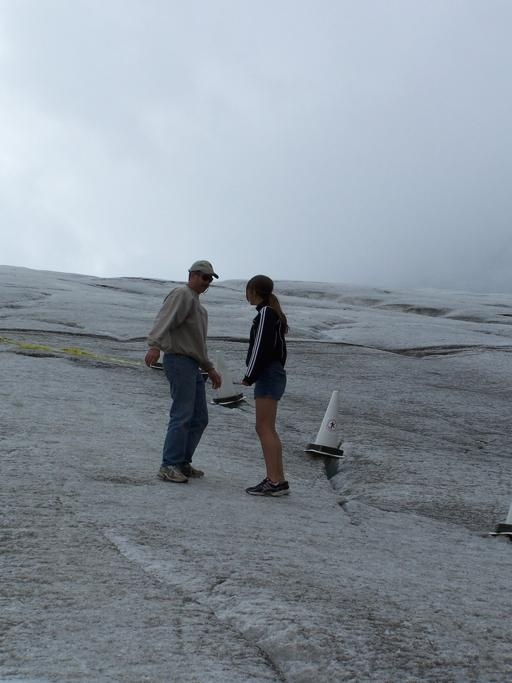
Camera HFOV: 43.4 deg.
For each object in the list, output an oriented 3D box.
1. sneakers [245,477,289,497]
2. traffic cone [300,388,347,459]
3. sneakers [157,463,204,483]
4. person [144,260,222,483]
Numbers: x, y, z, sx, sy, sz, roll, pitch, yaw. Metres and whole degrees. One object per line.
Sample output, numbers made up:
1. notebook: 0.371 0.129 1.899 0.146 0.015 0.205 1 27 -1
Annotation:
1. sneakers: 0.104 1.050 4.664 0.345 0.143 0.115 3 -7 -11
2. traffic cone: 0.669 0.745 5.955 0.359 0.612 0.279 6 10 -4
3. sneakers: -0.557 0.937 4.629 0.333 0.135 0.115 -3 3 13
4. person: -0.541 0.213 4.818 0.545 1.650 0.922 7 9 -3
